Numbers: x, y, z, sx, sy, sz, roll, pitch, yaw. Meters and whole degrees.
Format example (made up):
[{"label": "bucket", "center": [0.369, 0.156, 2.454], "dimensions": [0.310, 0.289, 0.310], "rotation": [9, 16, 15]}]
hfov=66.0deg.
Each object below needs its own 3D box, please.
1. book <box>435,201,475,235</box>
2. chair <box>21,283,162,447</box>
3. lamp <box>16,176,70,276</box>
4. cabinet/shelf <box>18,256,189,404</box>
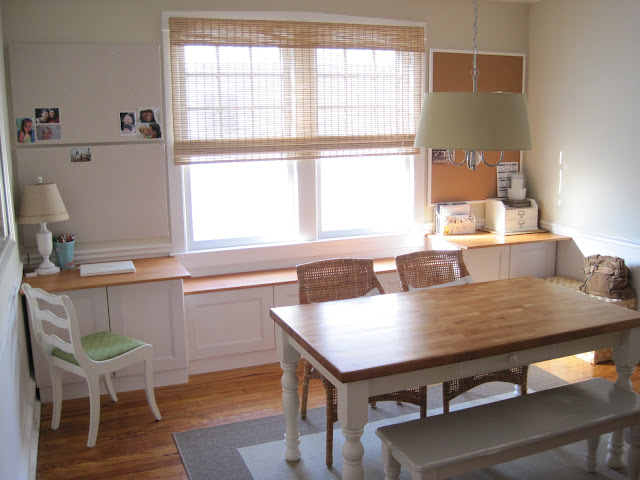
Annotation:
[{"label": "book", "center": [1.352, -0.210, 4.925], "dimensions": [0.388, 0.295, 0.168], "rotation": [-5, 14, -16]}, {"label": "chair", "center": [-1.518, 0.734, 3.319], "dimensions": [0.700, 1.017, 0.599], "rotation": [11, 18, 40]}, {"label": "lamp", "center": [-2.106, -0.108, 3.757], "dimensions": [0.319, 0.713, 0.368], "rotation": [-8, 15, -29]}, {"label": "cabinet/shelf", "center": [-1.664, 0.768, 3.855], "dimensions": [1.419, 1.063, 0.856], "rotation": [-6, 10, -32]}]
